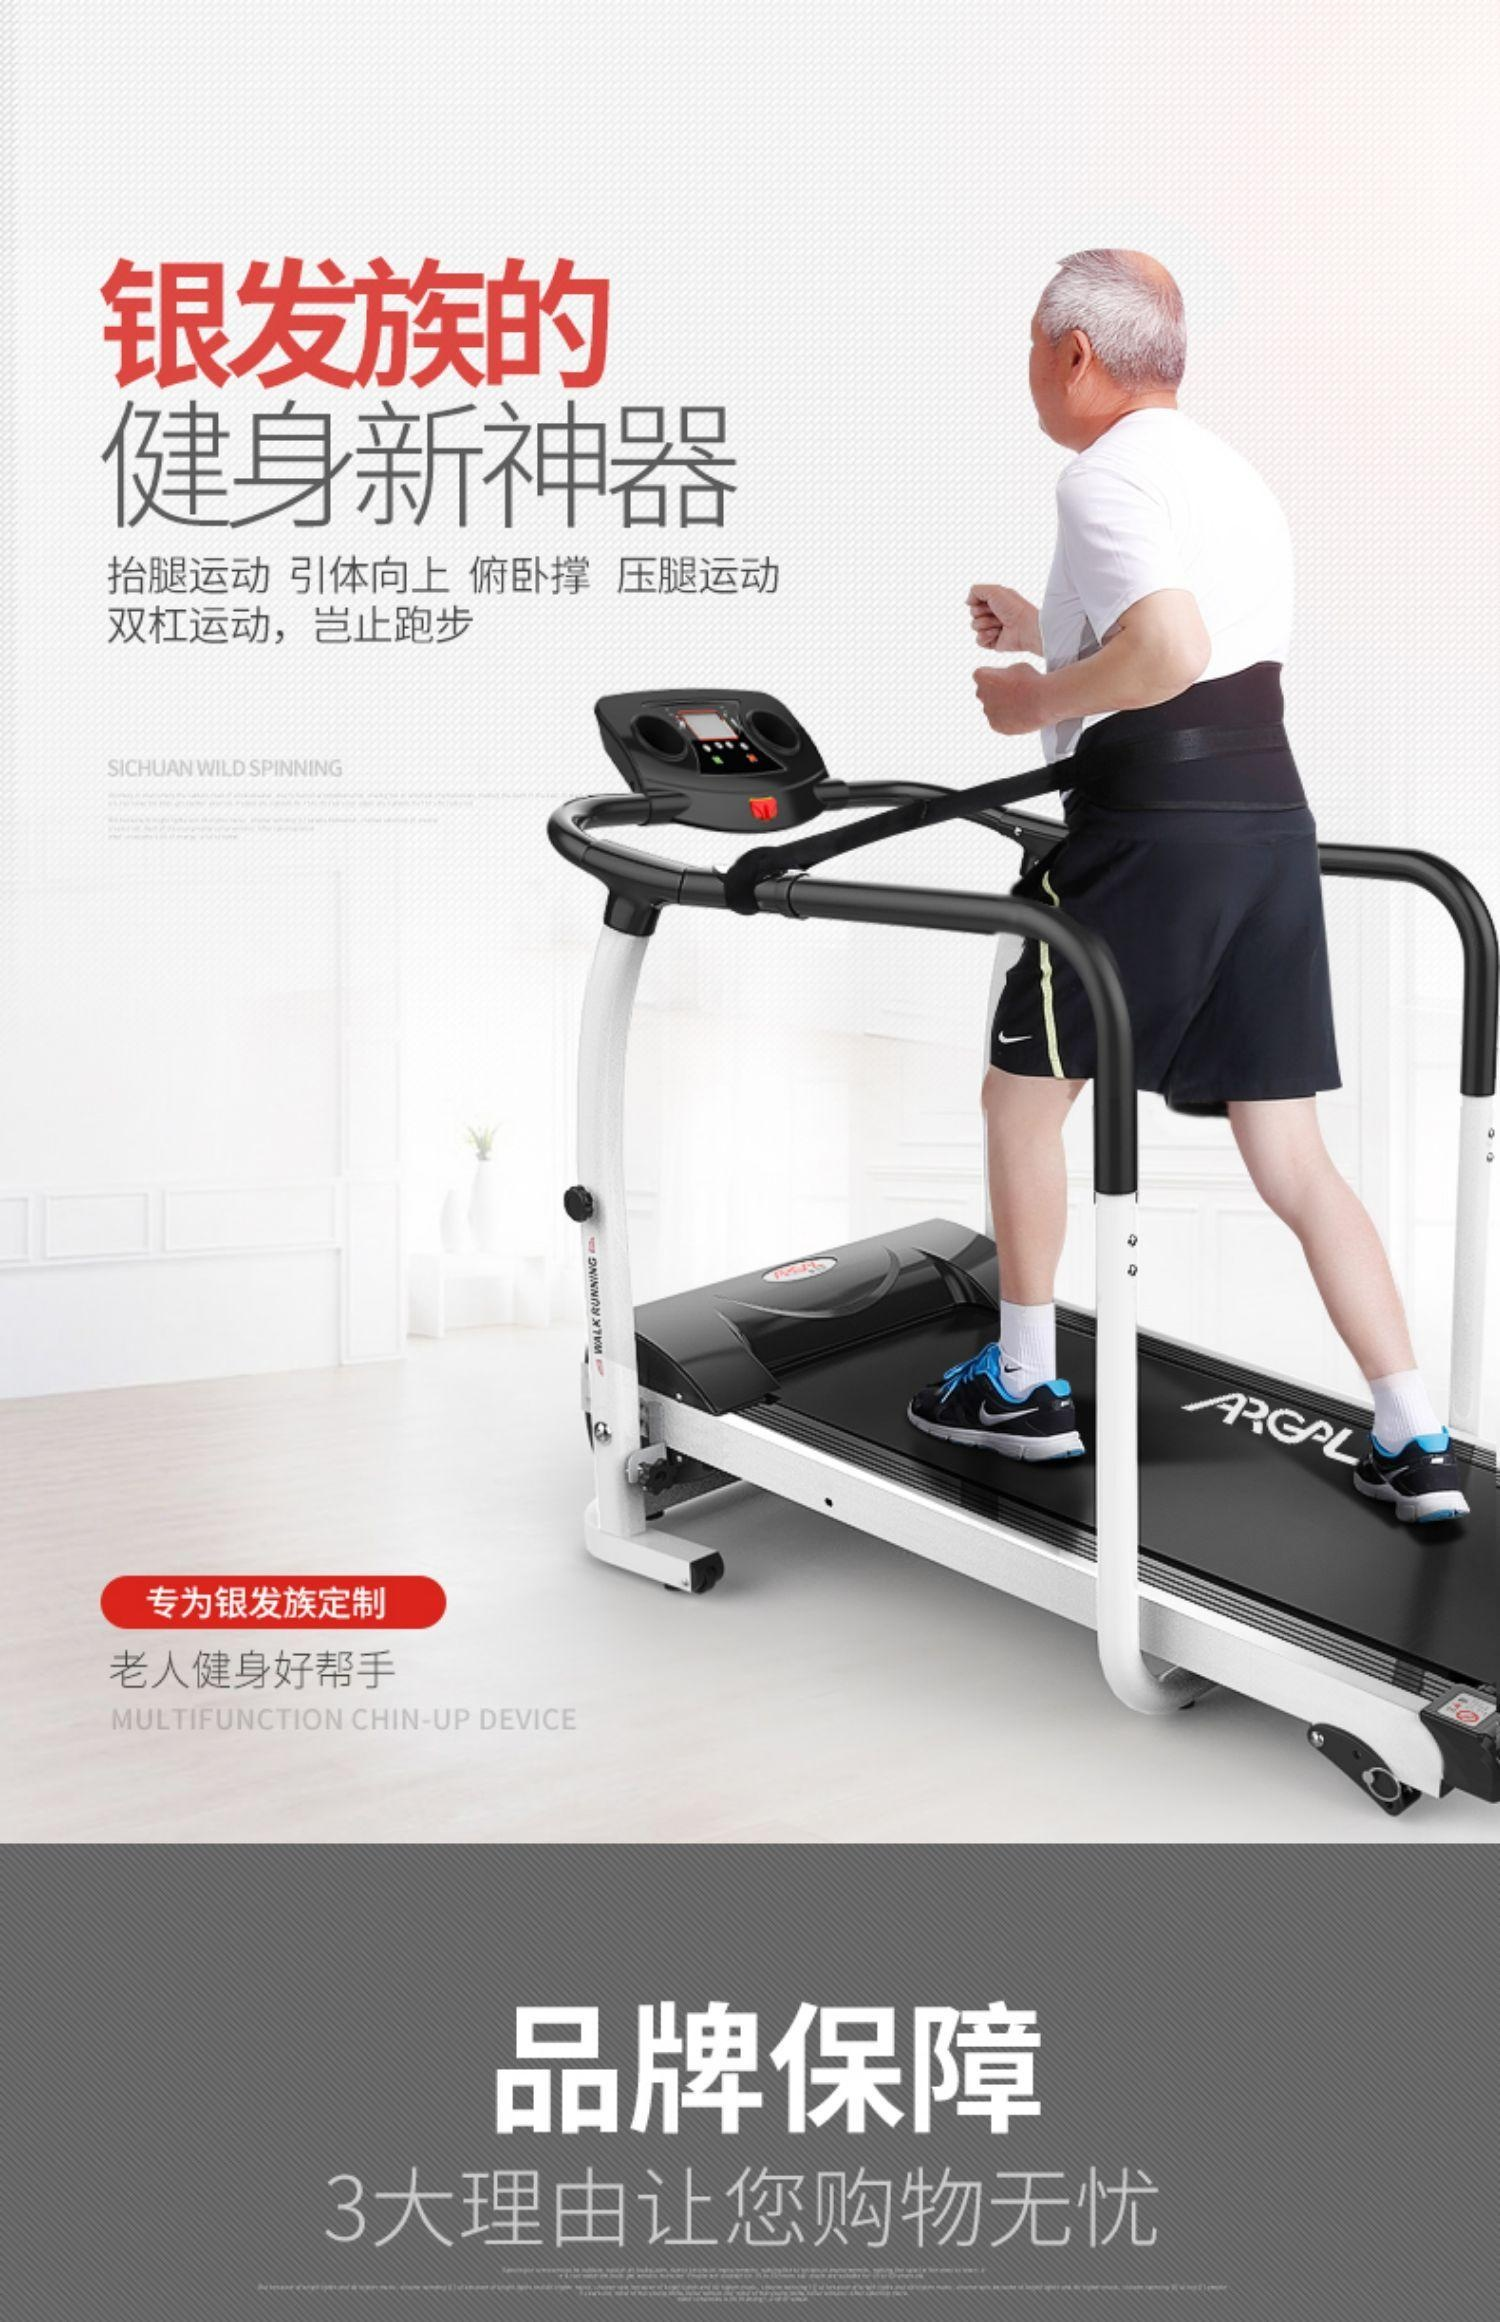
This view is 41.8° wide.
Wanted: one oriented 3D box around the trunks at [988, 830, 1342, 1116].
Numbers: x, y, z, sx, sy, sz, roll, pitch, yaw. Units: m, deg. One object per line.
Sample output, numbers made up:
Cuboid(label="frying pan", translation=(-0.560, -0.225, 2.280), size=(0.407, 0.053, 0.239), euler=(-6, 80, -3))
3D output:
Cuboid(label="trunks", translation=(0.492, -0.261, 2.230), size=(0.425, 0.377, 0.223), euler=(-4, 18, -13))

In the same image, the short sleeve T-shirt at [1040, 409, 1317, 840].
Cuboid(label="short sleeve T-shirt", translation=(0.474, -0.589, 2.200), size=(0.281, 0.453, 0.503), euler=(0, 8, 31))

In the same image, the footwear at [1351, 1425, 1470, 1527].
Cuboid(label="footwear", translation=(0.748, 0.361, 2.238), size=(0.061, 0.074, 0.152), euler=(-6, 12, -4))

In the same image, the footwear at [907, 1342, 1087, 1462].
Cuboid(label="footwear", translation=(0.313, 0.298, 2.477), size=(0.099, 0.121, 0.245), euler=(-5, 11, -41))
